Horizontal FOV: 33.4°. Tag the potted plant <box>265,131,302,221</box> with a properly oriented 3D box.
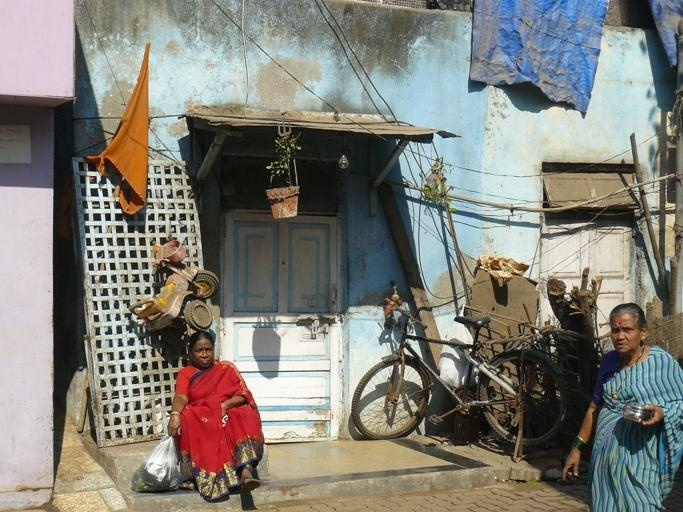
[{"bbox_3d":[-0.653,-0.947,12.659,0.359,0.973,0.351,-1,0,-5],"label":"potted plant"}]

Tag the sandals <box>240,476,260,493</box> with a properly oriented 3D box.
[{"bbox_3d":[-0.915,2.279,11.371,0.102,0.175,0.257,2,-33,-14],"label":"sandals"}]

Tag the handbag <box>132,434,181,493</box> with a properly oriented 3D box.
[{"bbox_3d":[-1.851,2.127,11.449,0.427,0.621,0.292,11,1,-4],"label":"handbag"}]

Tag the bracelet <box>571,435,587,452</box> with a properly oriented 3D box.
[{"bbox_3d":[2.187,1.733,10.428,0.130,0.133,0.097,19,-55,-44],"label":"bracelet"}]

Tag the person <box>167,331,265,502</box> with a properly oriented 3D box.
[{"bbox_3d":[-1.353,1.623,11.668,1.007,0.853,1.816,-5,33,-23],"label":"person"}]

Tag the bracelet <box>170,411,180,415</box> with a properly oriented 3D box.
[{"bbox_3d":[-1.676,1.604,11.510,0.081,0.049,0.075,-3,-5,-9],"label":"bracelet"}]
